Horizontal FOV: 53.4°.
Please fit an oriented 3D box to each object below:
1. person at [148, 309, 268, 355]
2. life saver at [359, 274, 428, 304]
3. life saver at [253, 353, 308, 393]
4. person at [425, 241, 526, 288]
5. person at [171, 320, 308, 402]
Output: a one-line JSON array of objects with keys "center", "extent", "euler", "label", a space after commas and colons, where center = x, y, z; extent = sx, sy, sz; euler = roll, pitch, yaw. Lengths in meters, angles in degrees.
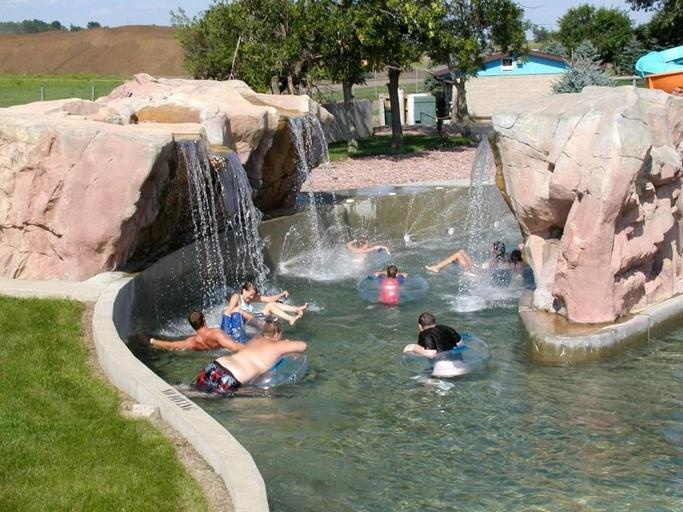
[{"center": [-2.257, 1.344, 11.152], "extent": [2.255, 0.958, 0.585], "euler": [-1, 35, 9], "label": "person"}, {"center": [1.015, 0.692, 13.380], "extent": [1.424, 0.496, 1.351], "euler": [8, 11, 15], "label": "life saver"}, {"center": [-1.000, 1.631, 10.310], "extent": [1.014, 0.407, 0.874], "euler": [7, 15, -36], "label": "life saver"}, {"center": [3.124, 0.057, 14.843], "extent": [1.731, 0.744, 1.106], "euler": [8, 18, 43], "label": "person"}, {"center": [-1.507, 1.551, 10.101], "extent": [1.948, 0.905, 0.982], "euler": [-15, 18, -14], "label": "person"}]
